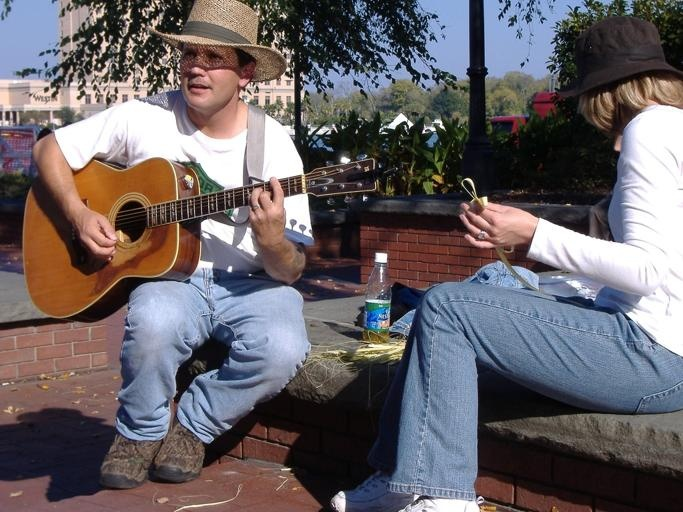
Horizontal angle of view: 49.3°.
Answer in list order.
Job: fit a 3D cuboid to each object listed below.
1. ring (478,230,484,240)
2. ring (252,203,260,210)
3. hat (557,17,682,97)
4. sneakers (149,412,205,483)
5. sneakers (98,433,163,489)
[{"bbox_3d":[0.543,-0.071,2.881,0.020,0.031,0.027,5,-3,12],"label":"ring"},{"bbox_3d":[-0.397,-0.217,3.450,0.030,0.022,0.031,-3,-6,0],"label":"ring"},{"bbox_3d":[1.094,-0.794,2.932,0.387,0.215,0.339,-13,11,41],"label":"hat"},{"bbox_3d":[-0.796,0.971,3.660,0.145,0.164,0.353,10,3,-8],"label":"sneakers"},{"bbox_3d":[-1.027,0.986,3.675,0.196,0.246,0.566,3,-1,6],"label":"sneakers"}]
